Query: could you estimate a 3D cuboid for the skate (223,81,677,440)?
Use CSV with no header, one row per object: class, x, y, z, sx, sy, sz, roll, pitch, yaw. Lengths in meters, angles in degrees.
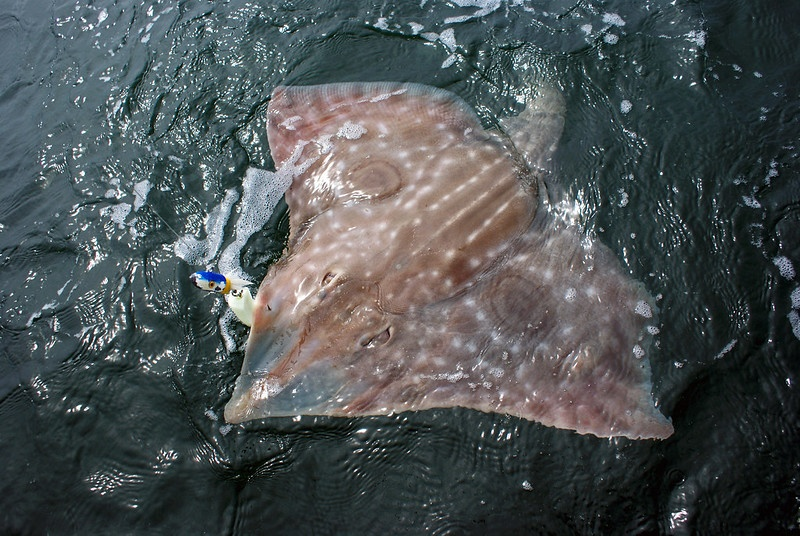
skate,0.675,-0.375,12.545,4.925,1.273,4.707,2,77,9
